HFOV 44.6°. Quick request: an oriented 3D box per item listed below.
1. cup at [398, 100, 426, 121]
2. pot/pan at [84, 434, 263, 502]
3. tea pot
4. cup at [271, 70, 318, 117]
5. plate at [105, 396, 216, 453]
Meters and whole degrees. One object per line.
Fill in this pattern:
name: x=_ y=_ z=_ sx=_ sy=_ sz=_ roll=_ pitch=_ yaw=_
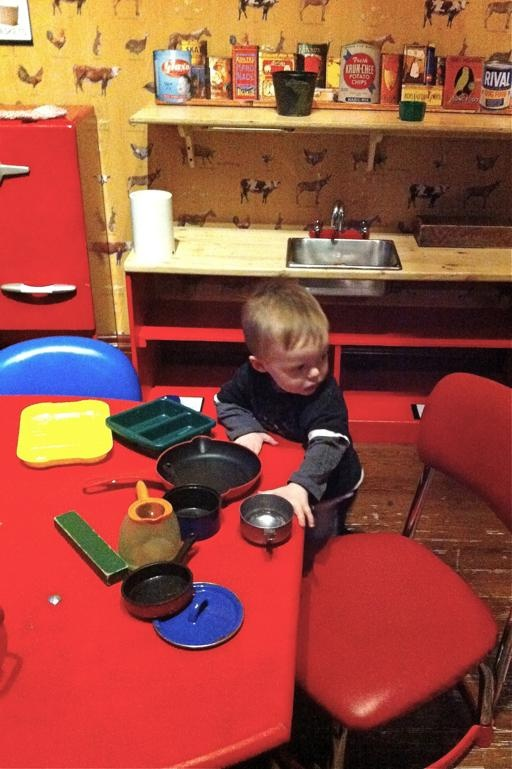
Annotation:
cup: x=0.565 y=-1.019 z=2.326 sx=0.105 sy=0.075 sz=0.102 roll=-1 pitch=23 yaw=0
pot/pan: x=-0.119 y=0.153 z=1.083 sx=0.176 sy=0.024 sz=0.130 roll=-8 pitch=28 yaw=-14
tea pot: x=-0.143 y=0.186 z=0.871 sx=0.062 sy=0.063 sz=0.095 roll=-4 pitch=35 yaw=-9
cup: x=0.140 y=-1.069 z=2.305 sx=0.153 sy=0.126 sz=0.171 roll=-7 pitch=24 yaw=-8
plate: x=-0.203 y=0.077 z=1.220 sx=0.126 sy=0.030 sz=0.129 roll=22 pitch=33 yaw=34
